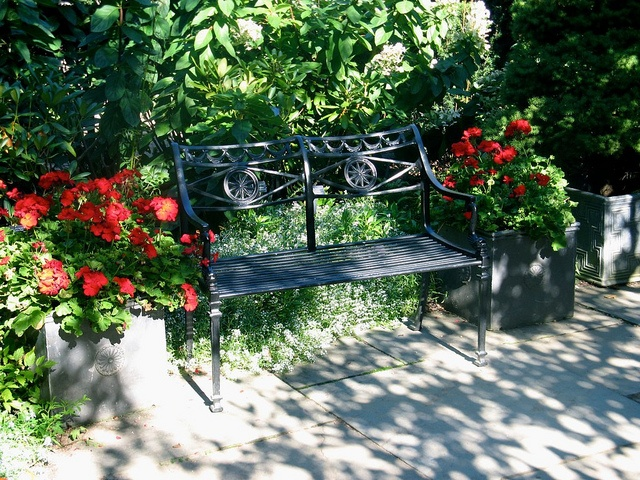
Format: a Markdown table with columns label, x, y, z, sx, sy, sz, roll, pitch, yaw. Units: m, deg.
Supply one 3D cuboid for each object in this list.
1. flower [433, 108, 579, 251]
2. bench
| label | x | y | z | sx | sy | sz | roll | pitch | yaw |
| --- | --- | --- | --- | --- | --- | --- | --- | --- | --- |
| flower | 1.592 | -0.421 | 5.093 | 1.205 | 1.222 | 1.035 | 1 | -2 | 1 |
| bench | 0.035 | -0.016 | 4.660 | 2.421 | 1.838 | 2.146 | -4 | 11 | -19 |
